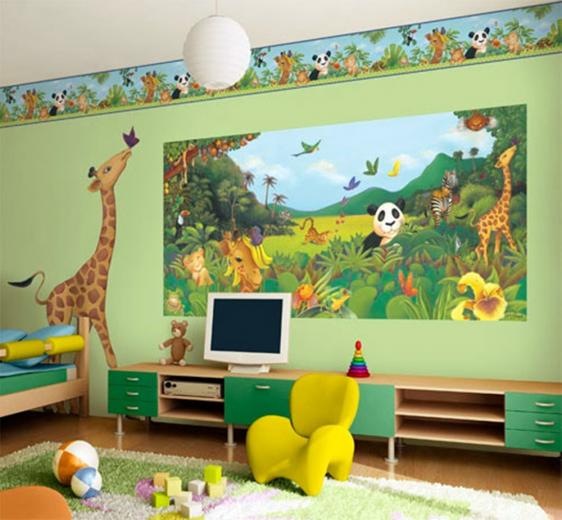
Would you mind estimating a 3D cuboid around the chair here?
[{"bbox_3d":[0.170,1.048,3.271,0.558,0.636,0.735,-1,-5,37],"label":"chair"}]

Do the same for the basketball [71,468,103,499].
[{"bbox_3d":[-1.080,1.287,3.011,0.169,0.159,0.165,10,-31,8],"label":"basketball"}]

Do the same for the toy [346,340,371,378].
[{"bbox_3d":[0.575,0.732,3.858,0.244,0.329,0.242,0,-3,9],"label":"toy"}]

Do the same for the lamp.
[{"bbox_3d":[-0.347,-1.137,2.807,0.348,0.383,0.184,1,-4,-11],"label":"lamp"}]

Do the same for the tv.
[{"bbox_3d":[-0.244,0.585,4.148,0.638,0.553,0.204,0,-7,15],"label":"tv"}]
